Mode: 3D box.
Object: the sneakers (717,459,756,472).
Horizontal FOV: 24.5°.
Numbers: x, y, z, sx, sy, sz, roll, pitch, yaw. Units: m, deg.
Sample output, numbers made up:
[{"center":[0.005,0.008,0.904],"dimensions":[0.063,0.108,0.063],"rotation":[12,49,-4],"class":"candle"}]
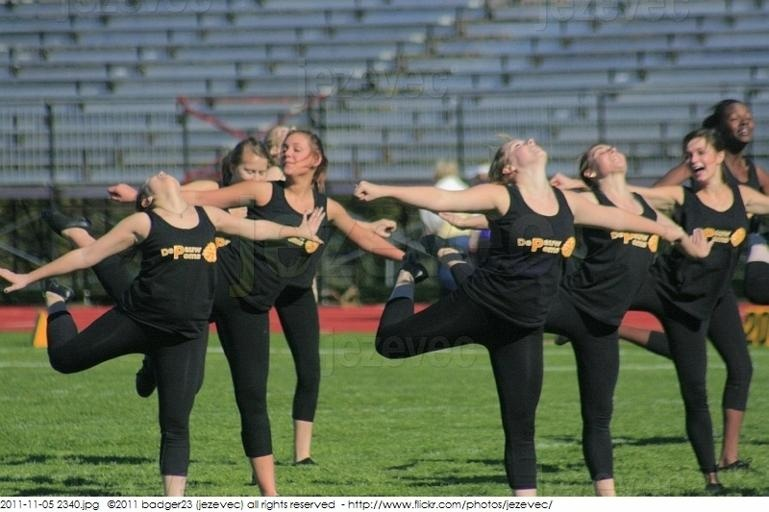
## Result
[{"center":[5.395,3.202,26.976],"dimensions":[0.552,0.115,0.173],"rotation":[-9,-1,8],"class":"sneakers"}]
